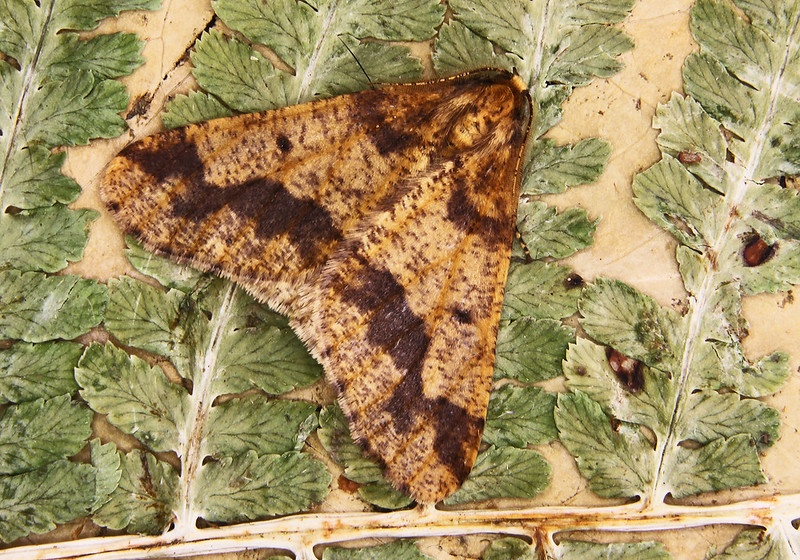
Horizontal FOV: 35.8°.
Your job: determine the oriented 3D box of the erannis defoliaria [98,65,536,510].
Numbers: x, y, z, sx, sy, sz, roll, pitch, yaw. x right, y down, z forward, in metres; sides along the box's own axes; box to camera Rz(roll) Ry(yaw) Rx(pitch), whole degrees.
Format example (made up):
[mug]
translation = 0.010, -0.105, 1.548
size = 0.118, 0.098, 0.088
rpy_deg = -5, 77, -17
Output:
[erannis defoliaria]
translation = -0.632, 0.099, 9.506
size = 2.682, 3.976, 0.339
rpy_deg = 0, 1, 20
